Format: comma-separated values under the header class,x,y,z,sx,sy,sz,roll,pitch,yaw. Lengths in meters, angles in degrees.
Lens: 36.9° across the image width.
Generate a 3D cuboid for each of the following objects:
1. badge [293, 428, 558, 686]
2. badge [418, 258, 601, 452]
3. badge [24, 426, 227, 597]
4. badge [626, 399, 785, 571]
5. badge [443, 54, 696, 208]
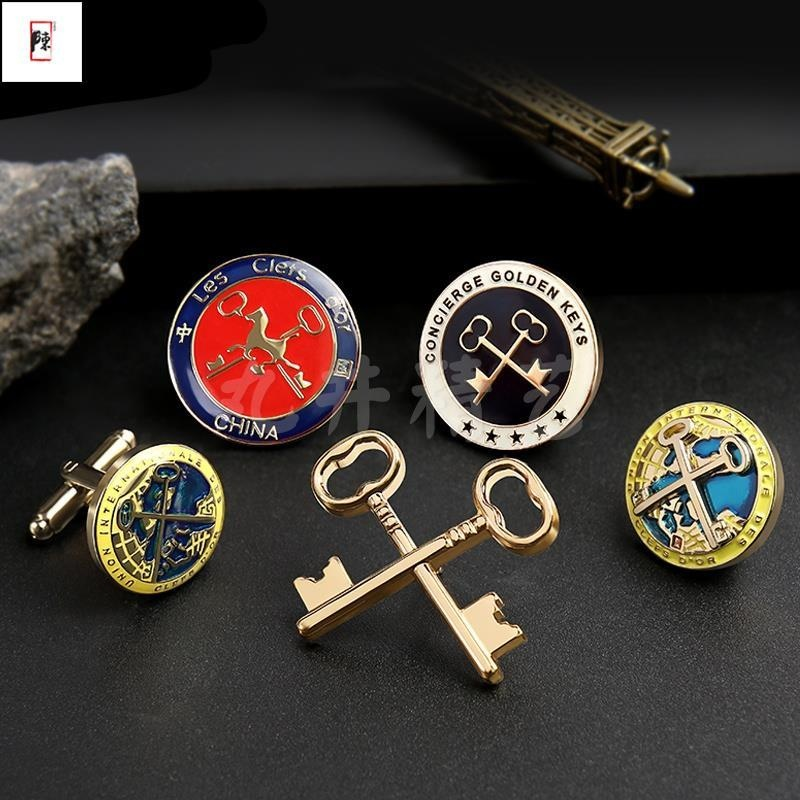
class,x,y,z,sx,sy,sz,roll,pitch,yaw
badge,0.057,0.319,2.505,0.524,0.054,0.521,-35,61,-15
badge,0.257,-0.103,2.895,0.371,0.279,0.437,-21,62,-20
badge,-0.599,0.230,2.667,0.378,0.278,0.327,25,46,30
badge,0.665,0.200,2.614,0.344,0.057,0.378,-5,77,24
badge,0.412,-0.667,3.038,0.534,0.143,0.114,32,57,21
